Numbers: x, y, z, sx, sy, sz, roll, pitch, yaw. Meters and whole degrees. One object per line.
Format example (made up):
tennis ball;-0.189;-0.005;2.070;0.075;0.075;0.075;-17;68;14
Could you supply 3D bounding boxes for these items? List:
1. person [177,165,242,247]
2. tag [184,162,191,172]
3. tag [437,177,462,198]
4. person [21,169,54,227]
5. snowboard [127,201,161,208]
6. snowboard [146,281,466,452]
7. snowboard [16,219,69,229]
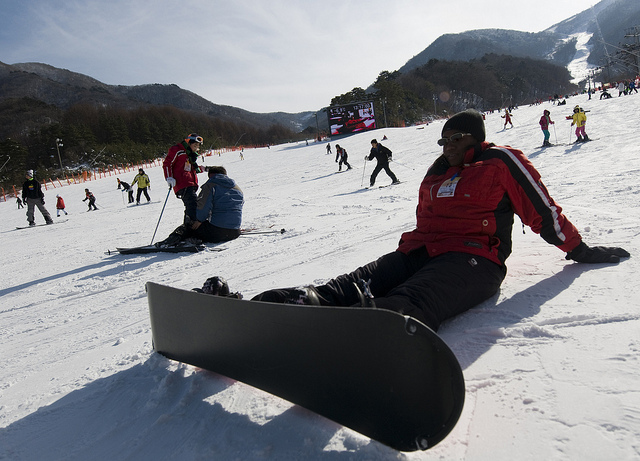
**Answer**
person;-1.542;-0.465;6.822;0.974;1.431;1.054;5;10;30
tag;-2.121;-1.046;6.777;0.105;0.108;0.026;5;-3;23
tag;0.945;-0.317;3.064;0.160;0.020;0.186;-14;39;46
person;-8.283;-0.977;12.309;0.627;1.585;1.637;-14;14;-33
snowboard;-6.153;-0.925;14.746;1.061;0.043;0.677;-10;13;-15
snowboard;-0.296;0.625;2.430;2.043;0.679;0.308;4;8;28
snowboard;-8.007;-0.210;12.268;1.294;0.115;0.145;-10;8;-19
